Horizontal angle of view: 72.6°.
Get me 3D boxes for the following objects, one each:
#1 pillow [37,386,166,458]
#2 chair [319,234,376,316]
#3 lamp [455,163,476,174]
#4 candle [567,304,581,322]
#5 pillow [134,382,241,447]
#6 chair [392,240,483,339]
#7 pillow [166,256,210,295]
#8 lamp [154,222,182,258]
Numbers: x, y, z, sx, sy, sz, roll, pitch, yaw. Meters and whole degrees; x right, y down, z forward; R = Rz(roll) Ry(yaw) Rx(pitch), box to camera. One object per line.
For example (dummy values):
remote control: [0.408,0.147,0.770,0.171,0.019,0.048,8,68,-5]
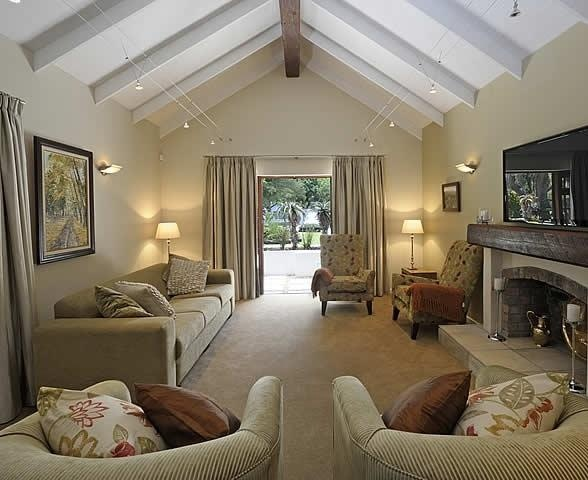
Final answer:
pillow: [-0.675,0.579,1.415,0.305,0.099,0.313,33,-2,-20]
chair: [0.723,0.454,5.822,0.734,1.047,1.059,-1,5,3]
lamp: [2.090,-0.855,4.838,0.139,0.047,0.161,10,-1,-13]
candle: [1.961,0.507,2.796,0.071,0.132,0.138,4,7,40]
pillow: [-0.404,0.677,1.537,0.268,0.120,0.271,18,3,-33]
chair: [1.656,0.546,4.661,0.769,1.048,0.844,-1,5,-1]
pillow: [-1.365,0.433,5.023,0.385,0.471,0.138,7,-39,-5]
lamp: [-1.909,0.018,6.017,0.392,0.583,1.099,-2,6,-17]
